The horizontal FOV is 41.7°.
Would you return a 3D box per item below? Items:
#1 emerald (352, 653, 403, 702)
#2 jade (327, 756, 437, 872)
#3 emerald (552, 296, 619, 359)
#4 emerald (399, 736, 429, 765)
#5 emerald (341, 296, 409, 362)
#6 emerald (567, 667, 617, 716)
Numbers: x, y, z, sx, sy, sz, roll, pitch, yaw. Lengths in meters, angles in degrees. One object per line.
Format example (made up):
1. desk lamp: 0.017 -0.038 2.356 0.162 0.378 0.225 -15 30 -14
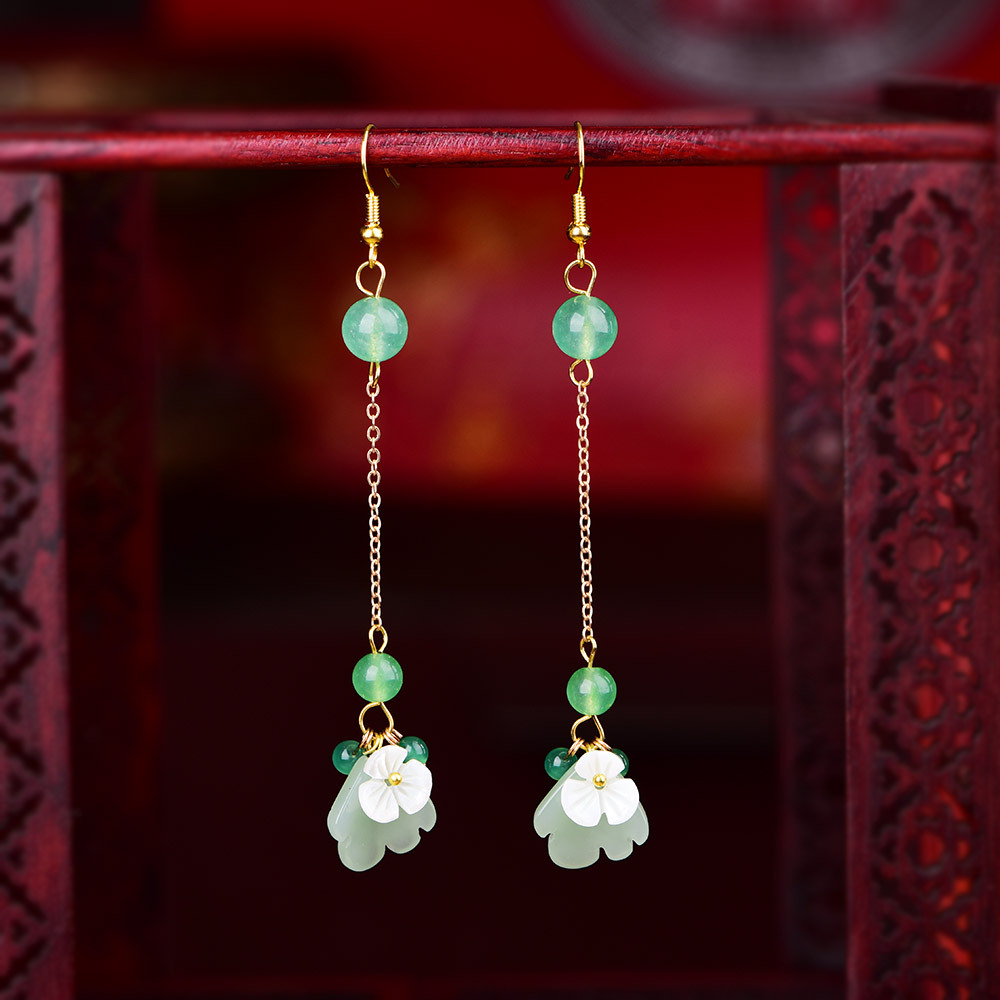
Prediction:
1. emerald: -0.146 0.212 1.553 0.053 0.056 0.084 2 -91 -21
2. jade: -0.143 0.363 1.559 0.123 0.061 0.141 -7 -76 1
3. emerald: 0.099 -0.203 1.539 0.058 0.038 0.086 2 -86 0
4. emerald: -0.103 0.300 1.579 0.029 0.031 0.038 -3 -87 4
5. emerald: -0.146 -0.215 1.593 0.068 0.072 0.109 11 -76 31
6. emerald: 0.109 0.230 1.565 0.052 0.057 0.083 2 -94 1
